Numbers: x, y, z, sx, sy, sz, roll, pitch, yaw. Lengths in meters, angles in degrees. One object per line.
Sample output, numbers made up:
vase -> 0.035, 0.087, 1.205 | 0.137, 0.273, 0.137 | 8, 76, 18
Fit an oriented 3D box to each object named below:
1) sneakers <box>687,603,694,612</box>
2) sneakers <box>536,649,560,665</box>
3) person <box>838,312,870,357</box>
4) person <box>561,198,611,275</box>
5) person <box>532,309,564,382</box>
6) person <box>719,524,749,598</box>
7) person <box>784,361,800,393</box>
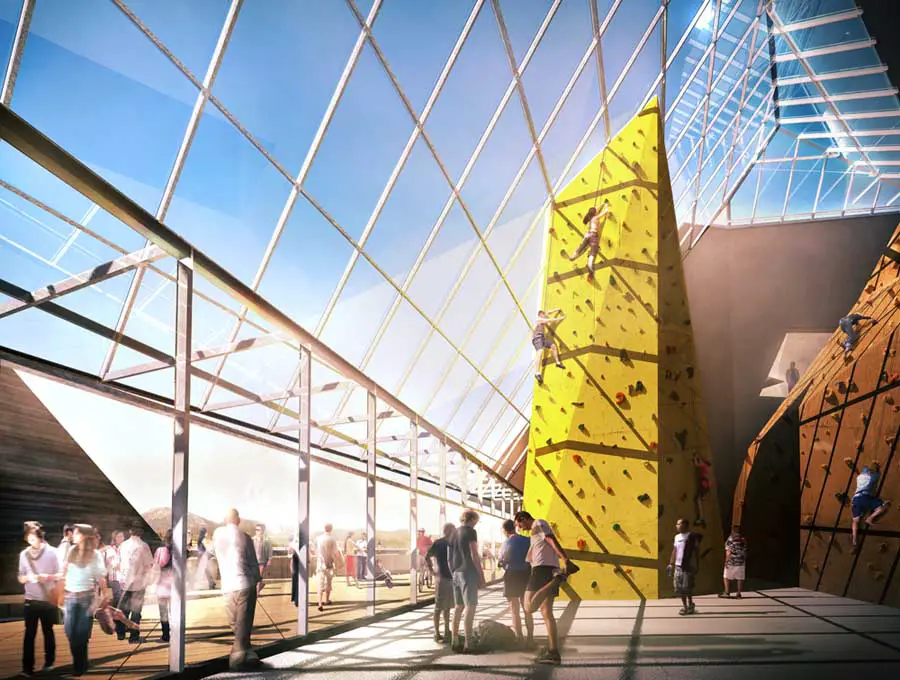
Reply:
sneakers -> 4.718, 5.232, 12.498 | 0.062, 0.181, 0.230 | -13, -19, 34
sneakers -> 1.337, 4.249, 8.647 | 0.283, 0.173, 0.256 | -5, -17, 9
person -> 10.757, -0.179, 17.006 | 0.681, 1.251, 1.416 | -11, -18, 29
person -> 3.948, -2.839, 17.801 | 0.712, 2.218, 1.087 | 4, -16, -21
person -> 2.710, 0.094, 17.881 | 1.022, 2.043, 0.752 | -12, -18, 33
person -> 7.190, 5.622, 16.351 | 0.677, 1.637, 2.236 | -8, -17, 20
person -> 16.159, 1.685, 30.301 | 0.646, 1.390, 0.335 | -4, -15, 7
